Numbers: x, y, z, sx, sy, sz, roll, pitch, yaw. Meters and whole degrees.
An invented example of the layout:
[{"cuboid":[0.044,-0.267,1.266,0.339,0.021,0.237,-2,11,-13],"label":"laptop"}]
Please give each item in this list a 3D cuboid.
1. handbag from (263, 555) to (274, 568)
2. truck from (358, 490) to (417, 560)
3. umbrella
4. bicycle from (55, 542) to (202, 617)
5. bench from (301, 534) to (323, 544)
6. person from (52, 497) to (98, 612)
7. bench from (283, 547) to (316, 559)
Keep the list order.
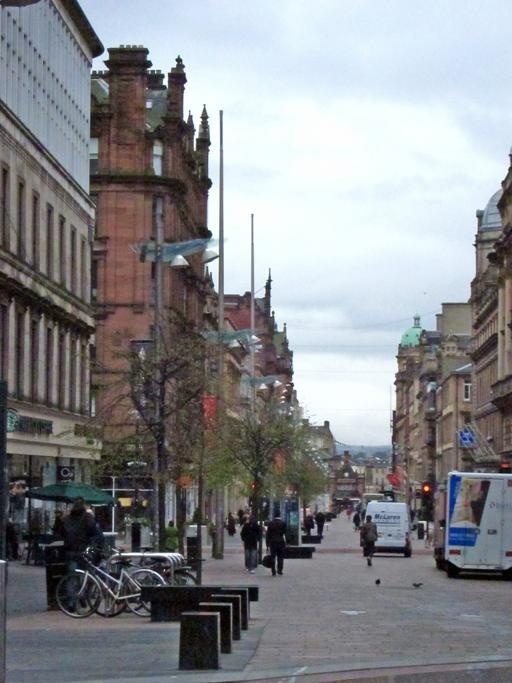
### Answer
[{"cuboid":[0.254,4.947,35.722,0.131,0.284,0.677,1,-10,-11],"label":"handbag"},{"cuboid":[4.529,6.231,53.896,1.182,1.408,2.334,0,2,6],"label":"truck"},{"cuboid":[-3.905,3.086,34.223,1.963,1.263,2.690,-1,-6,2],"label":"umbrella"},{"cuboid":[-1.809,3.657,23.303,2.136,1.370,0.955,-3,3,-7],"label":"bicycle"},{"cuboid":[2.015,7.625,61.022,0.533,0.397,2.213,-3,-10,10],"label":"bench"},{"cuboid":[-2.575,3.092,23.110,0.459,1.650,0.433,-1,-6,0],"label":"person"},{"cuboid":[1.235,6.224,46.930,0.842,0.437,2.027,-1,-10,1],"label":"bench"}]
